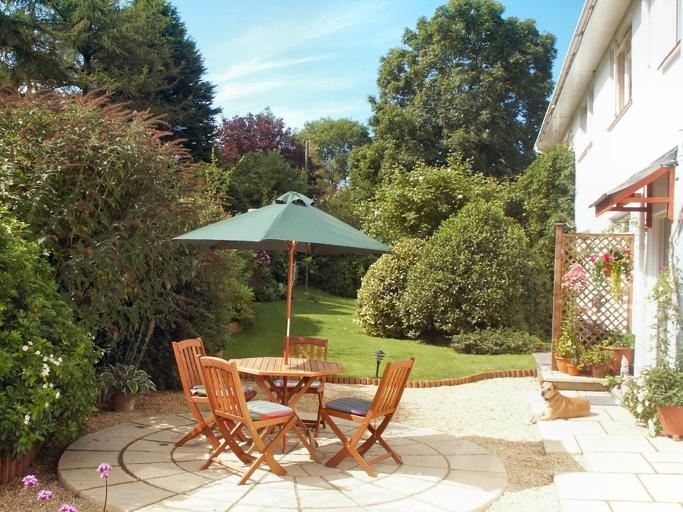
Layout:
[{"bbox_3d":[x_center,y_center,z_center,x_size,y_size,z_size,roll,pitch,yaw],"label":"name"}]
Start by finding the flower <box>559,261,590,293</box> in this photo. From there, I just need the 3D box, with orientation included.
[{"bbox_3d":[4.305,0.388,11.390,0.521,0.525,0.555,-3,-3,36],"label":"flower"}]

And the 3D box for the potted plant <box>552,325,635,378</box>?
[{"bbox_3d":[4.556,1.703,11.321,1.270,0.832,0.899,-1,7,15],"label":"potted plant"}]

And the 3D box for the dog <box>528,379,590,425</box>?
[{"bbox_3d":[3.348,2.220,9.468,1.060,0.608,0.341,0,8,-17],"label":"dog"}]

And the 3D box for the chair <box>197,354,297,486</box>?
[{"bbox_3d":[-1.053,1.900,7.484,0.977,1.415,1.163,4,0,23],"label":"chair"}]

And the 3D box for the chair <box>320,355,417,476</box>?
[{"bbox_3d":[0.330,1.979,7.822,1.028,1.316,0.860,-1,-3,23],"label":"chair"}]

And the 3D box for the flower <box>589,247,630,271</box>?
[{"bbox_3d":[4.750,0.058,10.960,0.452,0.292,0.432,0,-3,8],"label":"flower"}]

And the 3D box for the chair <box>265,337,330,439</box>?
[{"bbox_3d":[-0.712,1.701,8.606,0.835,1.353,1.009,-7,-22,29],"label":"chair"}]

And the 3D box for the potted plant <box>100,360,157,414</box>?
[{"bbox_3d":[-3.244,1.973,9.462,0.734,0.482,0.755,2,-11,-3],"label":"potted plant"}]
